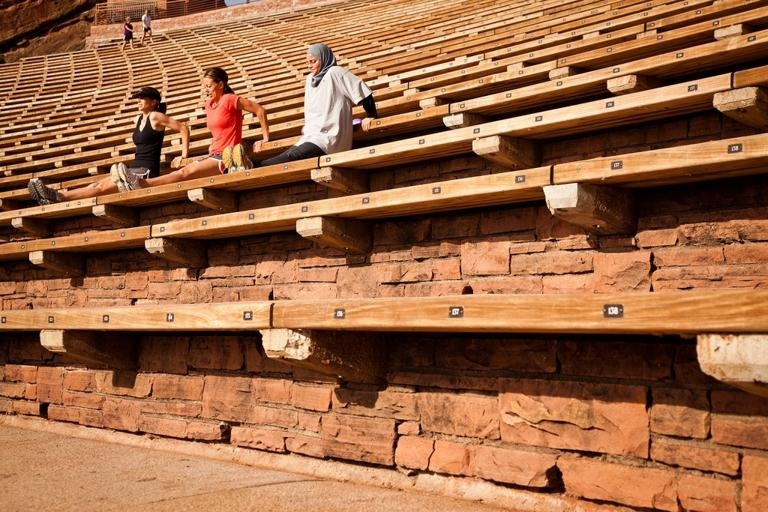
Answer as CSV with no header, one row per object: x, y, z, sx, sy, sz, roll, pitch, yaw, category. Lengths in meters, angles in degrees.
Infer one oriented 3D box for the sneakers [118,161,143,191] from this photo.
-2.991,-0.923,7.821,0.387,0.141,0.174,42,0,12,sneakers

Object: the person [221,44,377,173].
-0.949,-1.608,7.185,1.766,1.178,0.862,-17,21,-25,person

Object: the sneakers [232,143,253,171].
-1.550,-1.039,7.269,0.158,0.382,0.184,6,8,39,sneakers

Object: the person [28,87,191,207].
-3.347,-1.302,7.693,1.135,1.246,2.186,15,21,18,person

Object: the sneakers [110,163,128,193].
-3.084,-0.908,7.829,0.168,0.374,0.186,-14,-7,24,sneakers

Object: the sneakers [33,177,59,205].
-4.152,-0.776,8.094,0.242,0.151,0.477,14,-9,0,sneakers

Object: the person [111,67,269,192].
-2.276,-1.381,7.379,1.147,1.132,2.031,7,24,27,person
